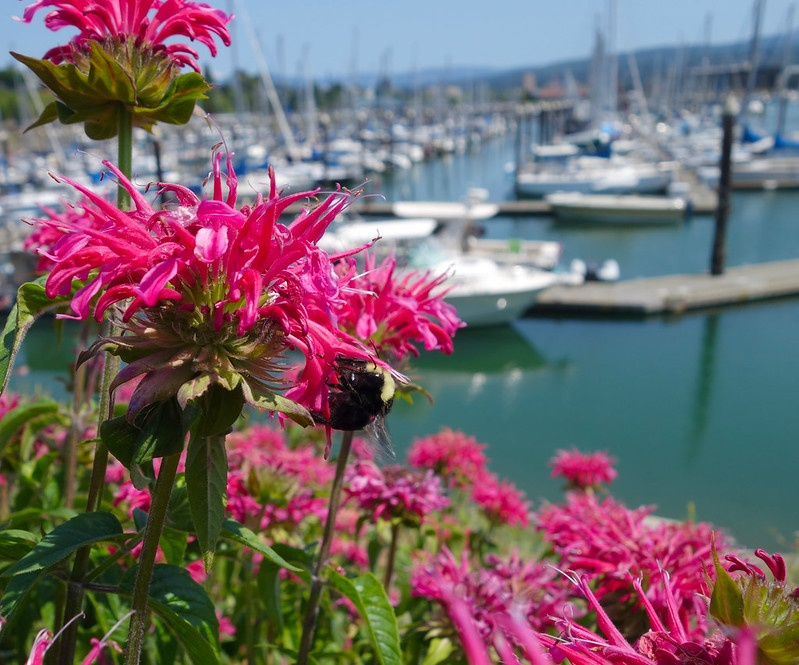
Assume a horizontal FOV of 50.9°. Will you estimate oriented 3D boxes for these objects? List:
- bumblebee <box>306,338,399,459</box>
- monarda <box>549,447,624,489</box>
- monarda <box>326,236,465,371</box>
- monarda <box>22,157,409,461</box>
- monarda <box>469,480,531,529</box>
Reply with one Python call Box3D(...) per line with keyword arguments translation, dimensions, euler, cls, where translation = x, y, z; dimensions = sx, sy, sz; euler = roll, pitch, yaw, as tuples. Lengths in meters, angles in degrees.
Box3D(translation=(-0.120, 0.177, 2.226), dimensions=(0.222, 0.140, 0.252), euler=(-4, -11, -1), cls="bumblebee")
Box3D(translation=(0.829, 0.589, 3.670), dimensions=(0.275, 0.192, 0.216), euler=(9, 14, 38), cls="monarda")
Box3D(translation=(0.010, -0.061, 2.651), dimensions=(0.346, 0.261, 0.352), euler=(-2, 27, -45), cls="monarda")
Box3D(translation=(-0.430, -0.053, 2.121), dimensions=(0.579, 0.835, 0.715), euler=(-3, 11, 0), cls="monarda")
Box3D(translation=(0.435, 0.734, 3.689), dimensions=(0.207, 0.165, 0.210), euler=(27, -6, -5), cls="monarda")
